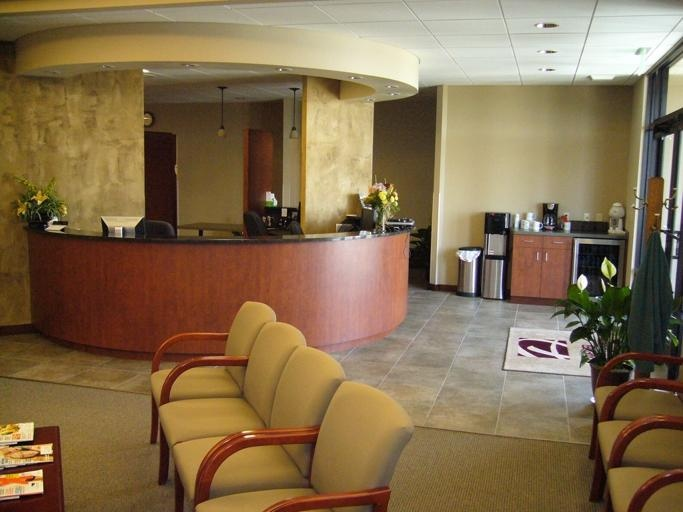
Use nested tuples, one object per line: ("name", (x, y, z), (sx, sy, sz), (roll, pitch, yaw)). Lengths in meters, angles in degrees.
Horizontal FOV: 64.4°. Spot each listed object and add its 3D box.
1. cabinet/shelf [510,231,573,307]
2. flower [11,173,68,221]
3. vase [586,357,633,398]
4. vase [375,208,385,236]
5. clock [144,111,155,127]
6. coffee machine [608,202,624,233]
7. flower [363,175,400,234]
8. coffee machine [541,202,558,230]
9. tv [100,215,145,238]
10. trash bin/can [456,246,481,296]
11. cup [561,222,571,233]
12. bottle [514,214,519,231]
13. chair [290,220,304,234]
("cabinet/shelf", (3.227, 0.183, 8.702), (1.095, 1.467, 0.803), (3, 6, 21))
("flower", (-3.757, -0.714, 6.808), (0.605, 0.579, 0.603), (-1, 7, -27))
("vase", (2.392, 1.038, 4.890), (0.353, 0.328, 0.393), (1, 2, -16))
("vase", (0.529, -0.495, 7.340), (0.128, 0.257, 0.372), (2, 10, 3))
("clock", (-4.394, -3.116, 12.372), (0.233, 0.365, 0.492), (0, 10, -6))
("coffee machine", (4.425, -0.608, 8.752), (0.230, 0.471, 0.429), (6, 11, 26))
("flower", (0.605, -0.688, 7.700), (0.663, 0.856, 0.703), (-3, 5, -11))
("coffee machine", (3.498, -0.669, 9.144), (0.274, 0.449, 0.350), (5, 11, 20))
("tv", (-2.431, -0.328, 6.032), (0.442, 0.186, 0.215), (-1, 10, -12))
("trash bin/can", (2.207, 0.275, 9.452), (0.414, 0.834, 0.212), (4, 11, 14))
("cup", (3.712, -0.479, 8.985), (0.177, 0.200, 0.179), (1, 6, 0))
("bottle", (2.976, -0.588, 9.224), (0.115, 0.229, 0.503), (5, 10, 18))
("chair", (-0.651, -0.406, 7.915), (0.181, 0.209, 0.487), (1, 10, -4))
